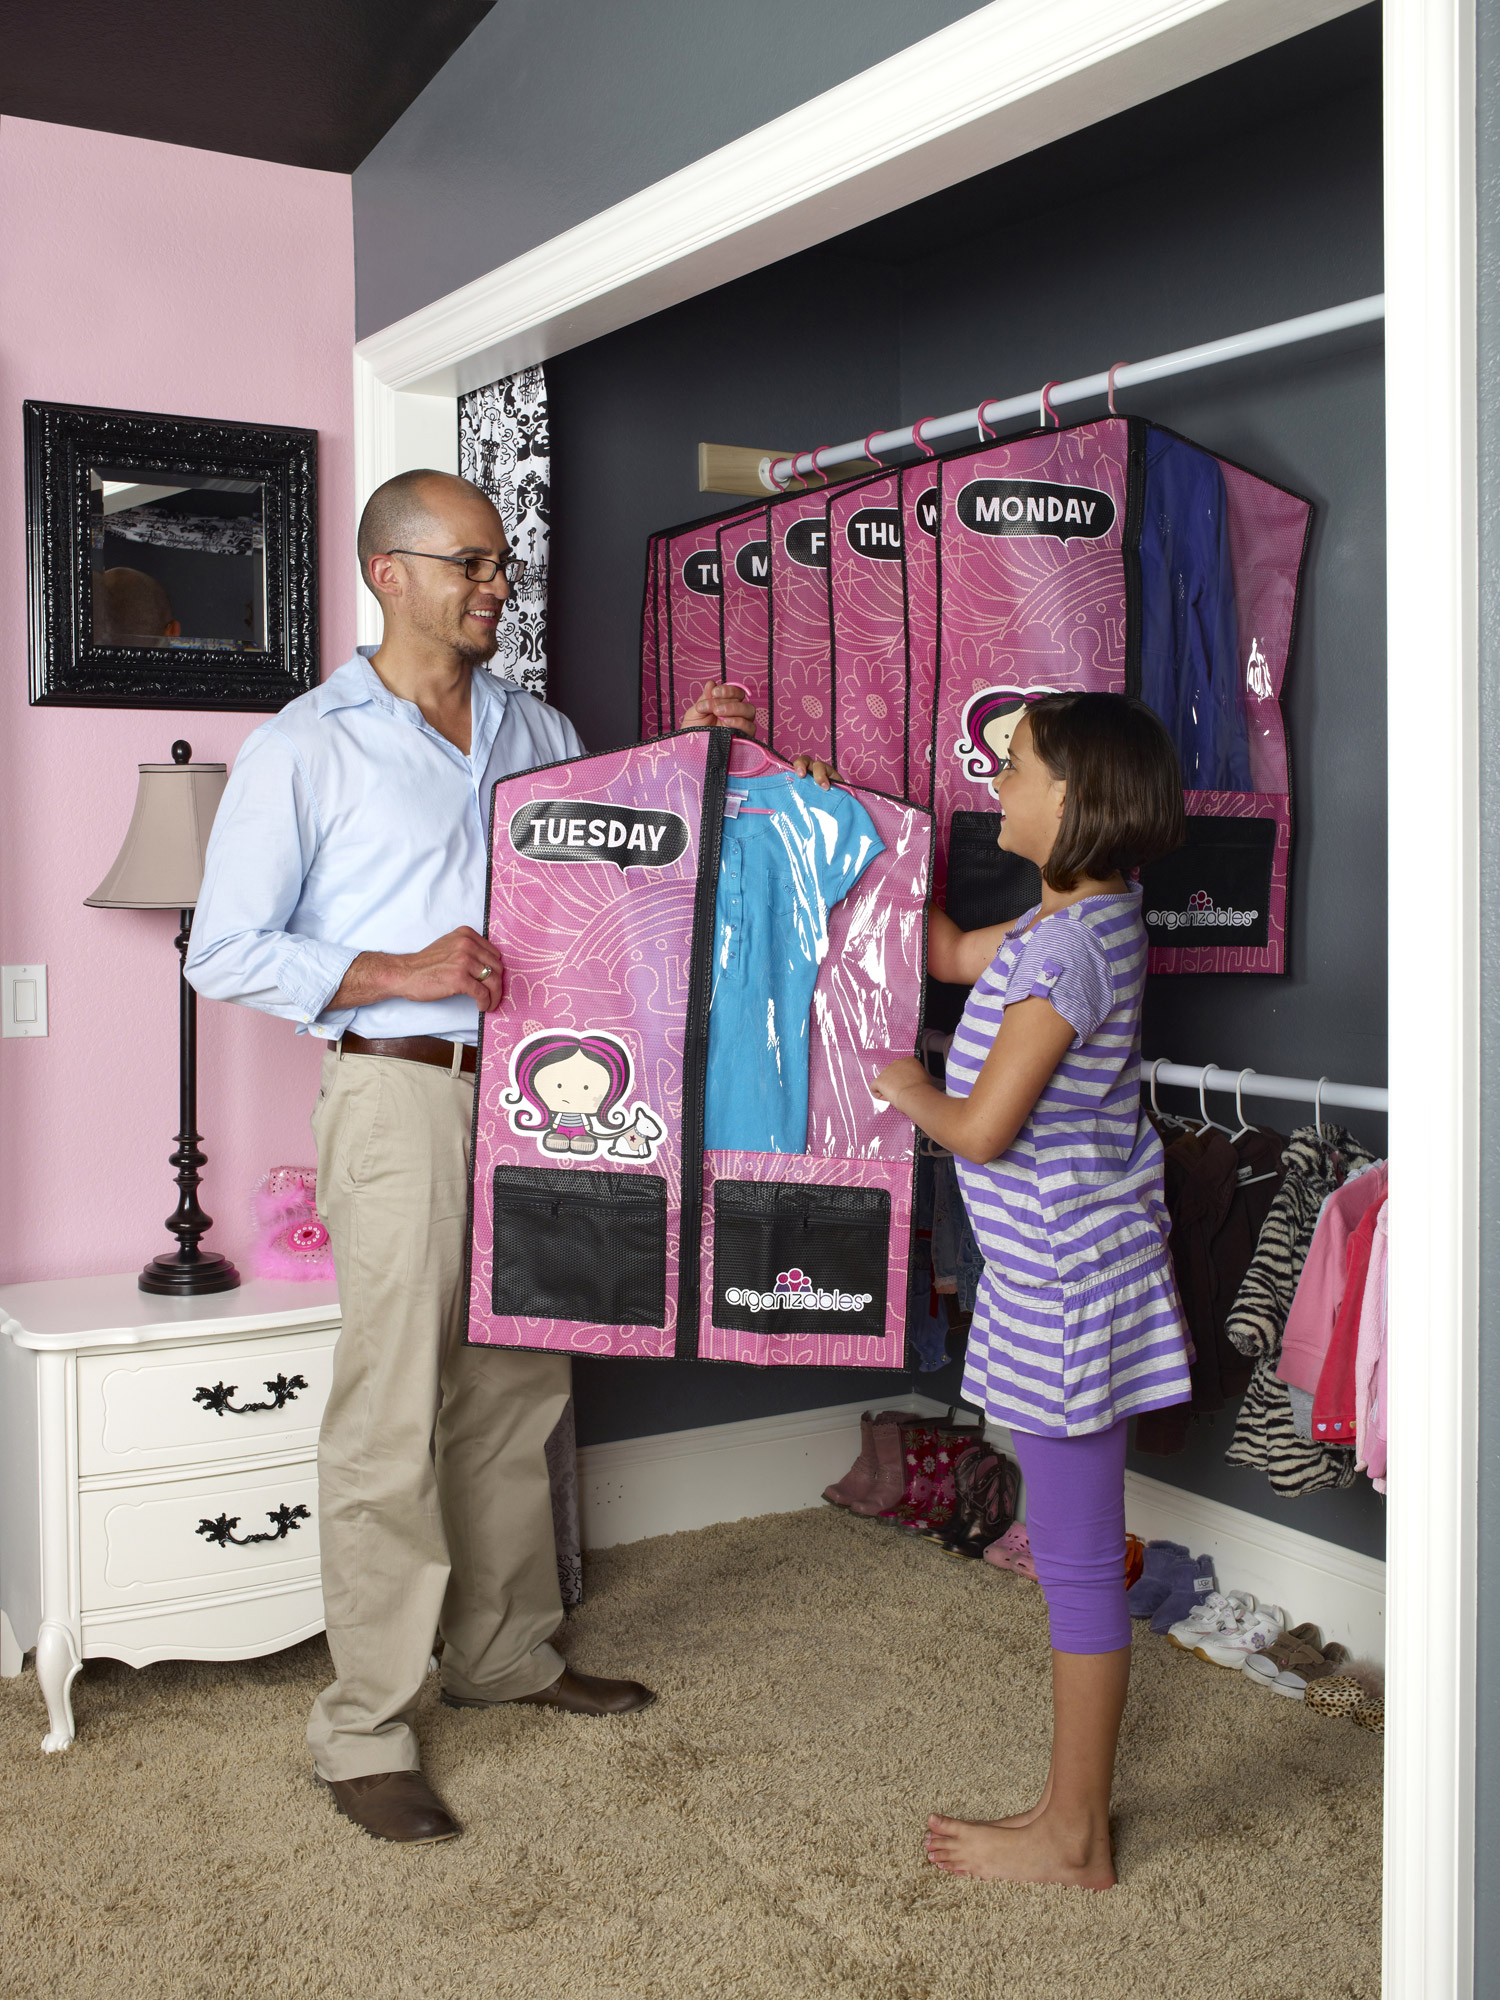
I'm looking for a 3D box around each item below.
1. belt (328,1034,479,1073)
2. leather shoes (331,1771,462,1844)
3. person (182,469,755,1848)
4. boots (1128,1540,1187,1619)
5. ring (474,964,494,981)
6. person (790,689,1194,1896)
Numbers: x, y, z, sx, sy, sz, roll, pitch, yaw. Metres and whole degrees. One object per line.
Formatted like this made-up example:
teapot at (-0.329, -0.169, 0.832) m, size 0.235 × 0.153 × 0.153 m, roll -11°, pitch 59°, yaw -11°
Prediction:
belt at (-0.474, 0.068, 2.042) m, size 0.205 × 0.047 × 0.056 m, roll 0°, pitch -1°, yaw 5°
leather shoes at (-0.453, 0.946, 1.956) m, size 0.064 × 0.068 × 0.178 m, roll 9°, pitch -13°, yaw -41°
person at (-0.445, 0.159, 2.158) m, size 0.463 × 1.635 × 0.542 m, roll -1°, pitch -2°, yaw 27°
boots at (0.755, 0.938, 2.697) m, size 0.069 × 0.078 × 0.200 m, roll -8°, pitch -16°, yaw 24°
ring at (-0.316, -0.029, 1.801) m, size 0.016 × 0.018 × 0.006 m, roll 3°, pitch 8°, yaw -6°
person at (0.349, 0.322, 1.778) m, size 0.350 × 1.277 × 0.372 m, roll 0°, pitch -2°, yaw 16°
